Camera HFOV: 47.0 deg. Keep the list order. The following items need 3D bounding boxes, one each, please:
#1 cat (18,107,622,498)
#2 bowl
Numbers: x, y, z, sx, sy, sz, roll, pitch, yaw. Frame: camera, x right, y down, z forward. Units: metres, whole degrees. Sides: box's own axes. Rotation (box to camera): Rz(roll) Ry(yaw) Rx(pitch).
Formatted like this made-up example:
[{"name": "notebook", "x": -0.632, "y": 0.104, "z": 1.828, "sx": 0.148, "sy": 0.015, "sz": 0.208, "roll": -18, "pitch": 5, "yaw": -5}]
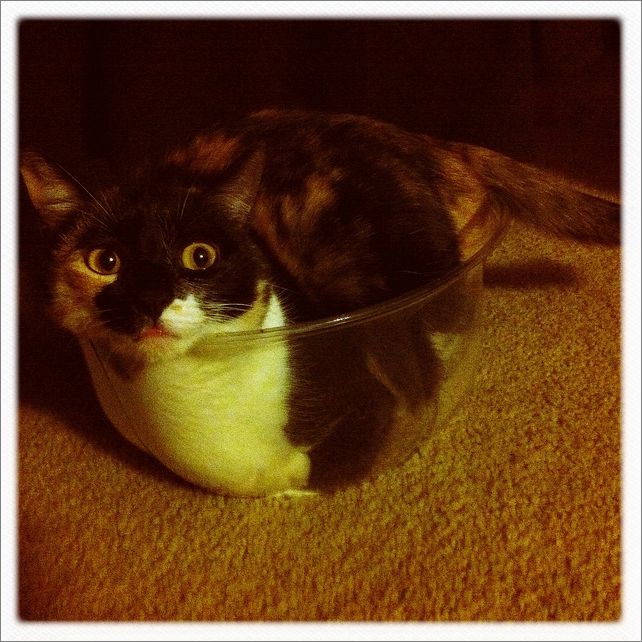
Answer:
[{"name": "cat", "x": 0.040, "y": -0.057, "z": 0.744, "sx": 0.495, "sy": 0.243, "sz": 0.307, "roll": -38, "pitch": 30, "yaw": -32}, {"name": "bowl", "x": -0.030, "y": 0.050, "z": 0.910, "sx": 0.489, "sy": 0.478, "sz": 0.225, "roll": -10, "pitch": 104, "yaw": 7}]
